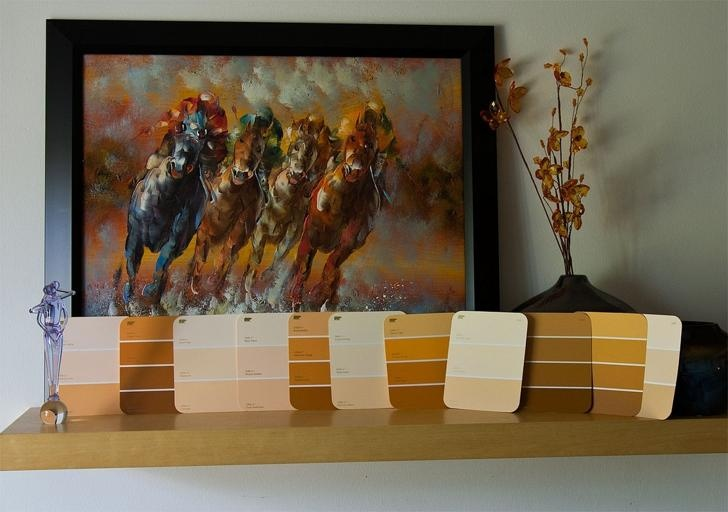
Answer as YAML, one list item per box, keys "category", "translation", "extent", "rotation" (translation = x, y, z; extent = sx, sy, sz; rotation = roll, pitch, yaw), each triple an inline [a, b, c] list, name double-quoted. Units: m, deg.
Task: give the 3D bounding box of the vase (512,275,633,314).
- category: "vase"
  translation: [0.432, 0.079, 1.444]
  extent: [0.230, 0.075, 0.074]
  rotation: [0, 1, 12]
